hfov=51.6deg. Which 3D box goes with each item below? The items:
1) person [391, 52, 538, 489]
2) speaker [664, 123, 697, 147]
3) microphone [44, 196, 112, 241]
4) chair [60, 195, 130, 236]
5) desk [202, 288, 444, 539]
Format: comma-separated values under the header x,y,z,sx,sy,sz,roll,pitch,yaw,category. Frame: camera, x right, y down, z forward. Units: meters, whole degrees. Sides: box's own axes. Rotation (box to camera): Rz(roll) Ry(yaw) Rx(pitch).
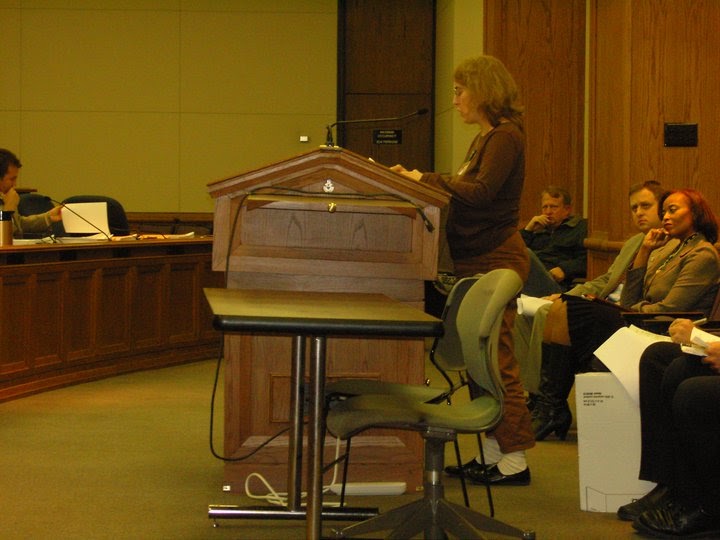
x,y,z,sx,sy,sz,roll,pitch,yaw,category
0.510,0.009,3.572,0.666,2.037,0.651,1,-1,1,person
2.256,-0.942,5.236,0.252,0.171,0.158,0,-1,6,speaker
-2.154,-0.376,5.786,0.456,0.313,0.299,1,-4,-4,microphone
-2.323,-0.509,6.601,0.469,0.400,0.492,-5,-3,-16,chair
-0.123,0.500,2.760,0.820,0.985,1.058,2,0,-3,desk
